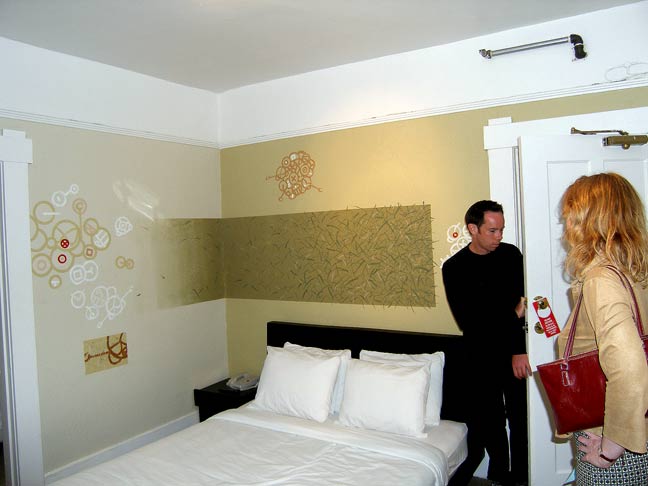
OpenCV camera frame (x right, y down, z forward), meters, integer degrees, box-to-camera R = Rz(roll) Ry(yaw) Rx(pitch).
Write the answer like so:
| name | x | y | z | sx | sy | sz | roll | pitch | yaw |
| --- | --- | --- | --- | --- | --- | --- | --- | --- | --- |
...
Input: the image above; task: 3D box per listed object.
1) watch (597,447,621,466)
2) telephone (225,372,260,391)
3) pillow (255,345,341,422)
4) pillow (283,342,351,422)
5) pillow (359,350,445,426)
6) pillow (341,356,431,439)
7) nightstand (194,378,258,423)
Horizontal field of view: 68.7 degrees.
| name | x | y | z | sx | sy | sz | roll | pitch | yaw |
| --- | --- | --- | --- | --- | --- | --- | --- | --- | --- |
| watch | 1.319 | 1.005 | 2.218 | 0.070 | 0.080 | 0.019 | -3 | -30 | -26 |
| telephone | -0.752 | 1.349 | 4.585 | 0.165 | 0.069 | 0.174 | 1 | 1 | 28 |
| pillow | -0.191 | 1.131 | 3.783 | 0.540 | 0.496 | 0.163 | -2 | -28 | 33 |
| pillow | -0.020 | 1.099 | 3.771 | 0.414 | 0.524 | 0.147 | -1 | -18 | 38 |
| pillow | 0.756 | 1.093 | 3.670 | 0.501 | 0.564 | 0.215 | -2 | -25 | 23 |
| pillow | 0.448 | 1.150 | 3.546 | 0.630 | 0.418 | 0.308 | 1 | 8 | 23 |
| nightstand | -0.920 | 1.386 | 4.541 | 0.404 | 0.430 | 0.427 | 0 | 4 | 16 |
